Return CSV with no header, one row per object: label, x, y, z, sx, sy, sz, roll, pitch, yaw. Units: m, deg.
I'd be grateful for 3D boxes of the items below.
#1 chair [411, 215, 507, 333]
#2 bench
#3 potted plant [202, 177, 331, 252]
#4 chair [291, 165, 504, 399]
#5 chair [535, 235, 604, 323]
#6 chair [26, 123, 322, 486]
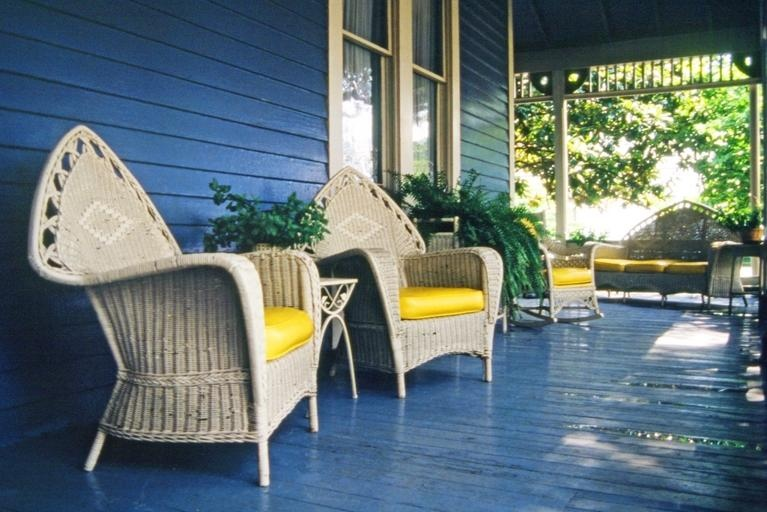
chair,0.461,0.265,4.248,0.763,0.857,0.638,-3,-21,-13
bench,3.583,-0.050,7.497,0.848,1.212,2.001,-4,3,-31
potted plant,-0.715,-0.179,3.381,0.567,0.278,0.525,1,-2,-40
chair,0.091,0.094,3.759,1.004,1.211,1.177,9,7,38
chair,1.953,0.242,5.976,0.698,0.794,0.742,-5,2,21
chair,-0.886,0.153,2.677,1.084,1.522,0.753,0,9,6
